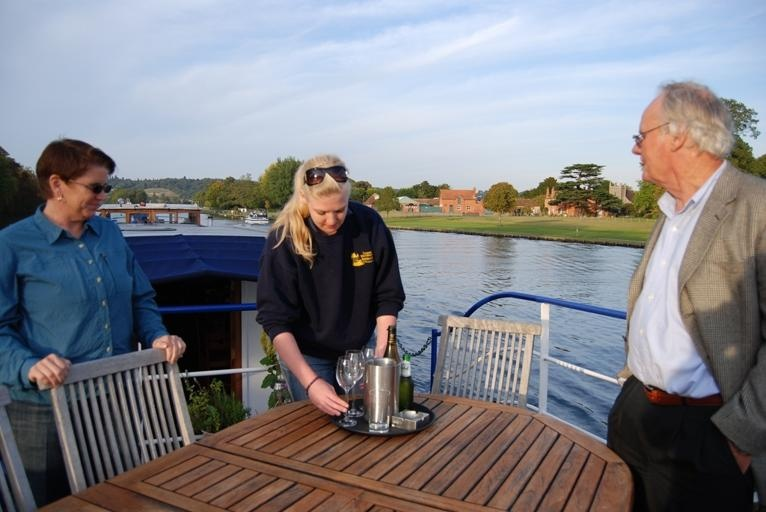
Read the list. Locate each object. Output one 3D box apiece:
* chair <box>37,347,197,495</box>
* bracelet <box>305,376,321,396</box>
[{"bbox_3d":[-1.421,0.807,3.093,0.711,1.078,0.639,4,11,35],"label":"chair"},{"bbox_3d":[-0.399,0.718,2.930,0.101,0.031,0.090,-45,-12,28],"label":"bracelet"}]
